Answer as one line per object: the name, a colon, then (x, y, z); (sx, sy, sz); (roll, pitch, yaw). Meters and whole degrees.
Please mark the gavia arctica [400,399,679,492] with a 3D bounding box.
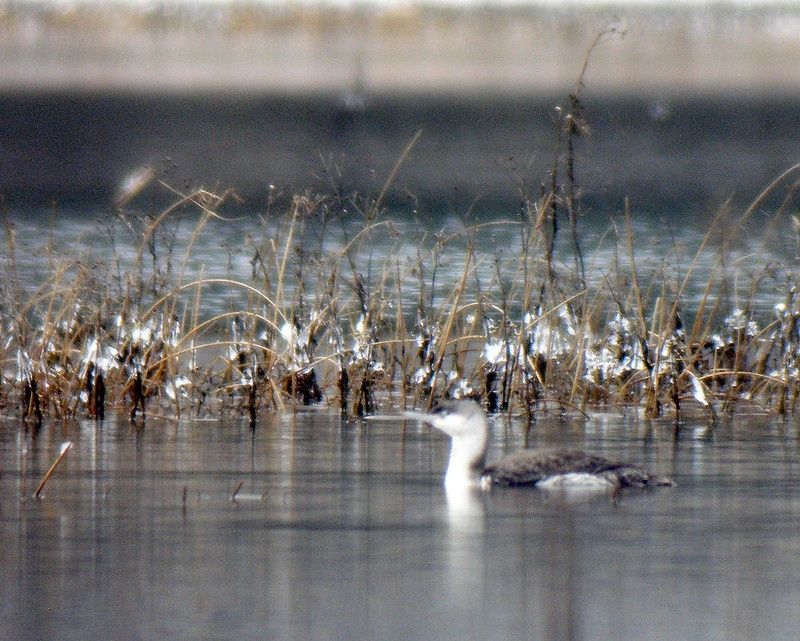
gavia arctica: (0.943, 0.878, 14.612); (1.799, 0.582, 0.520); (1, 9, 7)
